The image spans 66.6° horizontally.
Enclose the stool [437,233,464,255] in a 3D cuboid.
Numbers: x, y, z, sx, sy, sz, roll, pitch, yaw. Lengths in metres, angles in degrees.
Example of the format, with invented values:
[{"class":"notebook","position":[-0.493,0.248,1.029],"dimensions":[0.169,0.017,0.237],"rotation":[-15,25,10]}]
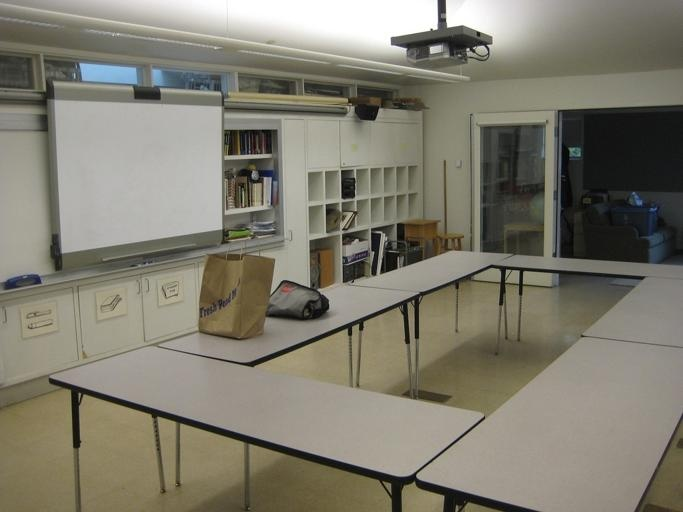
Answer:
[{"class":"stool","position":[1.760,-0.227,8.376],"dimensions":[0.364,0.433,0.361],"rotation":[2,7,24]}]

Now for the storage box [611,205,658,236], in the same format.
[{"class":"storage box","position":[4.976,-0.643,8.869],"dimensions":[0.596,0.416,0.608],"rotation":[2,5,35]}]

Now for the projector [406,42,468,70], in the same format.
[{"class":"projector","position":[0.710,-1.525,3.959],"dimensions":[0.226,0.075,0.235],"rotation":[0,2,24]}]

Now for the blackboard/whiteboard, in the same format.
[{"class":"blackboard/whiteboard","position":[-2.014,-0.778,4.931],"dimensions":[0.188,1.657,1.807],"rotation":[4,7,40]}]

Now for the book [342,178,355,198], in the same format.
[{"class":"book","position":[0.094,-0.966,7.358],"dimensions":[0.133,0.279,0.266],"rotation":[0,4,20]}]

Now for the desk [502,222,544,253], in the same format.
[{"class":"desk","position":[2.890,-0.270,8.245],"dimensions":[0.552,0.611,0.422],"rotation":[1,3,21]}]

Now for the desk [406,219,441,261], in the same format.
[{"class":"desk","position":[1.357,-0.265,8.240],"dimensions":[0.361,0.436,0.389],"rotation":[-8,3,26]}]
